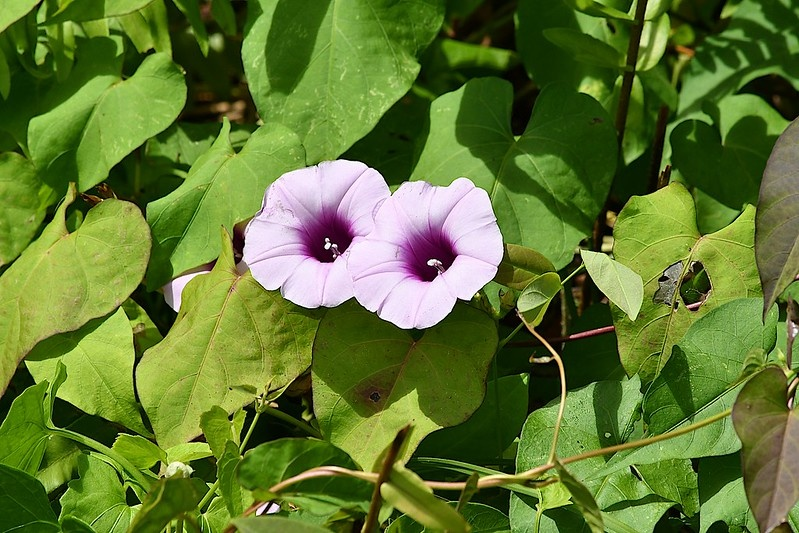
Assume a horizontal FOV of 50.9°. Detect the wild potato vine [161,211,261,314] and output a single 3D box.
[{"bbox_3d":[-0.393,-0.013,1.711,0.142,0.227,0.037,26,2,11],"label":"wild potato vine"}]
